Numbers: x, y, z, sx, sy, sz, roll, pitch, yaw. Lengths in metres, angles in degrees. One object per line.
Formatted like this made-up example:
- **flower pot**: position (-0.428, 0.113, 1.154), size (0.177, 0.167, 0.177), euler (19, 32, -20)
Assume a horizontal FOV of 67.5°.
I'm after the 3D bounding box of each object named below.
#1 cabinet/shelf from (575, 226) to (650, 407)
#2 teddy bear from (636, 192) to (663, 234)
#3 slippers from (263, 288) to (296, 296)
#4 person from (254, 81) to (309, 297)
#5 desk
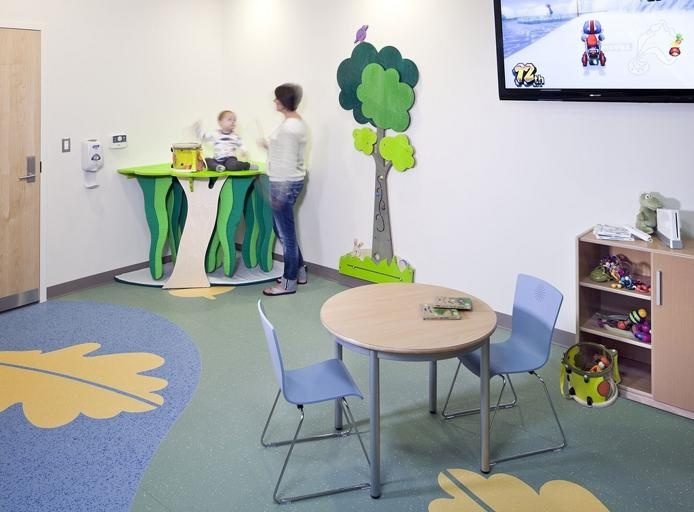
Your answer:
- **cabinet/shelf**: position (1.924, 0.381, 3.769), size (0.541, 1.106, 0.439), euler (6, 14, 30)
- **teddy bear**: position (2.081, -0.296, 3.600), size (0.153, 0.283, 0.084), euler (6, 14, 31)
- **slippers**: position (-0.722, 0.381, 5.481), size (0.227, 0.068, 0.125), euler (2, 1, -13)
- **person**: position (-0.651, -0.663, 5.374), size (0.471, 2.129, 0.295), euler (-2, 12, -7)
- **desk**: position (0.311, 0.610, 3.292), size (0.991, 0.993, 1.112), euler (-7, 16, -18)
